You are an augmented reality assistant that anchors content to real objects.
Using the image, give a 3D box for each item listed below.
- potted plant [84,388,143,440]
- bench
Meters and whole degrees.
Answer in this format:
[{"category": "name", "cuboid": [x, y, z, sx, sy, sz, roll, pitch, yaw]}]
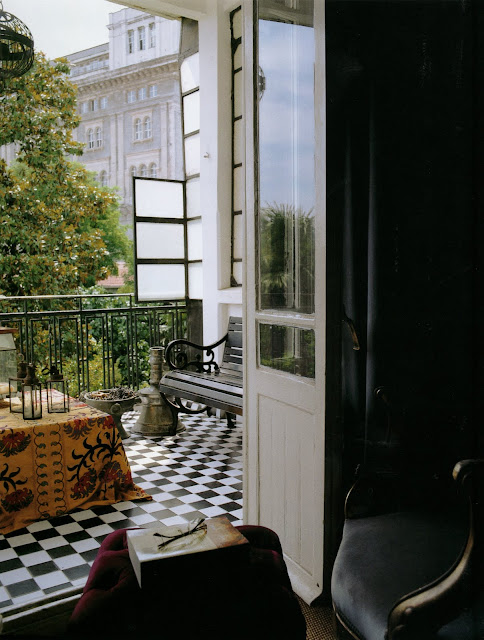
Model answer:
[{"category": "potted plant", "cuboid": [-0.943, 0.600, 4.008, 0.351, 0.351, 0.437, 0, 0, -8]}, {"category": "bench", "cuboid": [-0.330, 0.454, 4.510, 0.640, 0.929, 2.172, 0, 2, -1]}]
